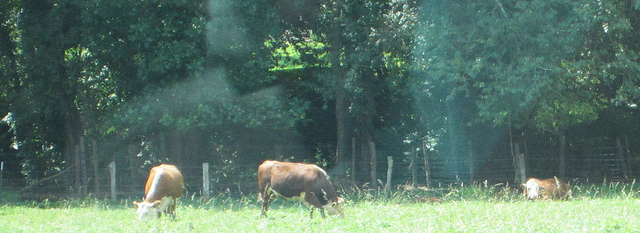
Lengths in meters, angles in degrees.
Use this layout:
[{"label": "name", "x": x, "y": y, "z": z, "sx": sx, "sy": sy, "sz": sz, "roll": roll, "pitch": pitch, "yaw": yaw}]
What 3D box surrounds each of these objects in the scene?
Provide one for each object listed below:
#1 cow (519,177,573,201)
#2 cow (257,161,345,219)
[{"label": "cow", "x": 19.800, "y": 6.679, "z": 67.723, "sx": 3.566, "sy": 2.347, "sz": 2.842, "roll": 0, "pitch": -5, "yaw": -11}, {"label": "cow", "x": -1.190, "y": 6.266, "z": 66.123, "sx": 10.935, "sy": 5.092, "sz": 3.142, "roll": 0, "pitch": -8, "yaw": 10}]
